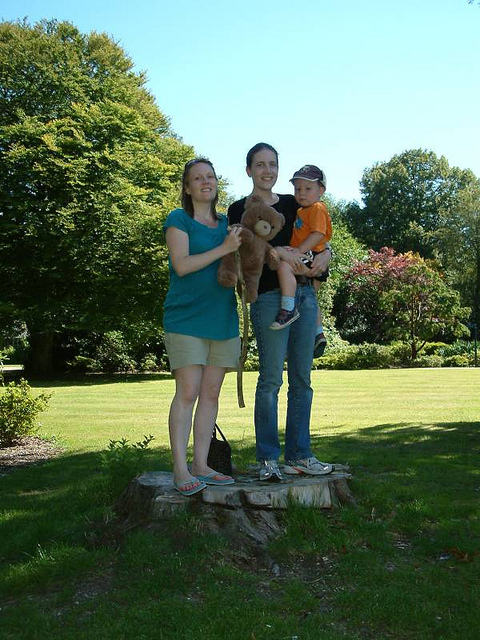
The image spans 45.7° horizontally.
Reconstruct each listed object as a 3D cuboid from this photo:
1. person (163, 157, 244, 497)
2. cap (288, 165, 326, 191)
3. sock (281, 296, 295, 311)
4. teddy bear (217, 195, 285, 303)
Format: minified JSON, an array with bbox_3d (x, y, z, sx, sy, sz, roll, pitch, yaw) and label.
[{"bbox_3d":[-0.209,0.002,3.280,0.454,1.977,0.551,-1,-3,-6],"label":"person"},{"bbox_3d":[0.437,-0.946,3.654,0.222,0.134,0.261,-1,-3,5],"label":"cap"},{"bbox_3d":[0.283,-0.102,3.480,0.086,0.079,0.081,-1,-4,-11],"label":"sock"},{"bbox_3d":[0.073,-0.417,3.299,0.358,0.563,0.333,24,-2,-38],"label":"teddy bear"}]
